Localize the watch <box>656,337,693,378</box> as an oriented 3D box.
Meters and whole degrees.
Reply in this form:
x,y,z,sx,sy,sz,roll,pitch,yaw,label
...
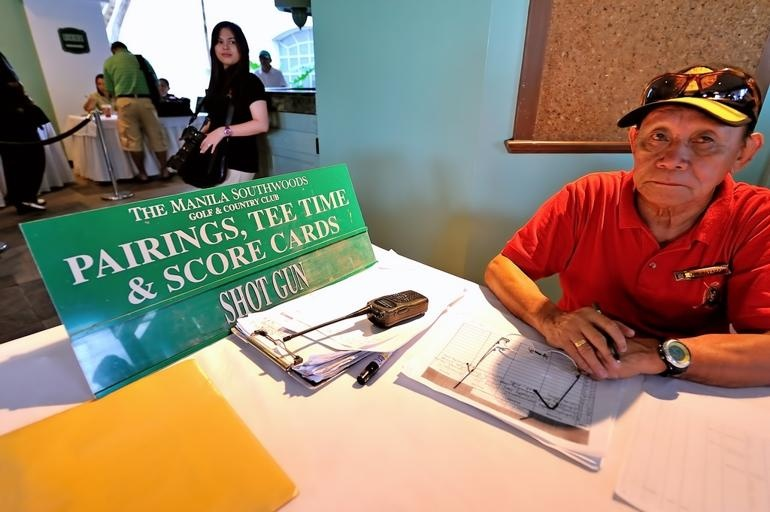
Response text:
x,y,z,sx,sy,sz,roll,pitch,yaw,label
0.817,0.286,1.265,0.083,0.092,0.093,11,38,4,watch

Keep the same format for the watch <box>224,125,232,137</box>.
x,y,z,sx,sy,sz,roll,pitch,yaw,label
-0.901,-0.720,2.589,0.057,0.059,0.043,27,24,37,watch

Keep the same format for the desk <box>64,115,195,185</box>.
x,y,z,sx,sy,sz,roll,pitch,yaw,label
-2.666,-1.110,4.690,0.908,0.513,1.038,-16,27,-36,desk
